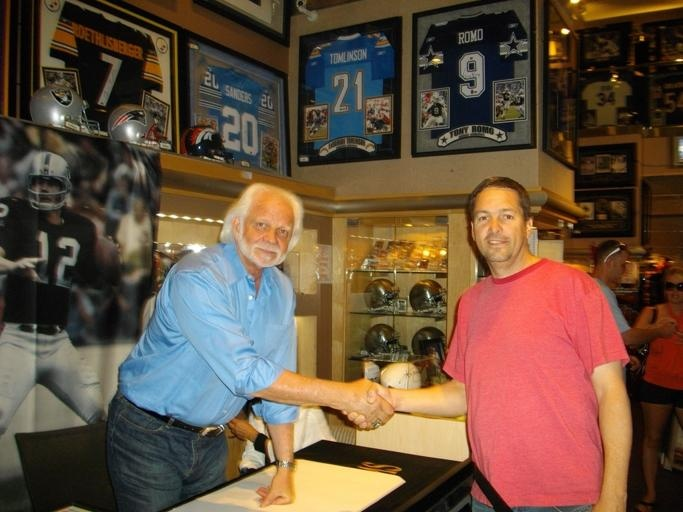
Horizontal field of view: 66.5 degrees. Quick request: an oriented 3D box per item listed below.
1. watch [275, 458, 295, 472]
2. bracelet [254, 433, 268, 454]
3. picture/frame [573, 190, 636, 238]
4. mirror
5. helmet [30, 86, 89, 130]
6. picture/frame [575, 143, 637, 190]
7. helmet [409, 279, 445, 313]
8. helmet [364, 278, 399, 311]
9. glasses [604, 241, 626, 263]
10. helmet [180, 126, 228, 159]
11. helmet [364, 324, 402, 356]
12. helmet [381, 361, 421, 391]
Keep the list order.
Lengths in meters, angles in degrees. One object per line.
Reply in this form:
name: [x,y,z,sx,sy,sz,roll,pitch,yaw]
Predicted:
watch: [-0.237,0.898,2.227,0.077,0.047,0.062,-2,2,-6]
bracelet: [-0.411,0.956,2.668,0.070,0.096,0.099,0,-16,-2]
picture/frame: [4.989,-0.780,9.727,1.115,1.037,0.545,0,-1,23]
mirror: [1.971,-1.539,4.720,0.078,1.774,1.813,0,0,30]
helmet: [-1.540,-0.830,2.943,0.228,0.260,0.324,25,34,39]
picture/frame: [5.115,-1.728,9.957,1.389,0.990,0.766,1,2,30]
helmet: [0.748,0.343,4.611,0.301,0.245,0.241,-13,6,12]
helmet: [0.367,0.356,4.740,0.305,0.250,0.237,-6,3,29]
glasses: [2.287,-0.037,4.363,0.126,0.176,0.047,37,23,-3]
helmet: [-1.007,-0.800,3.780,0.308,0.264,0.240,-15,15,-30]
helmet: [0.370,0.765,4.690,0.298,0.243,0.225,-3,1,21]
helmet: [0.393,0.791,3.490,0.163,0.206,0.196,17,-2,33]
